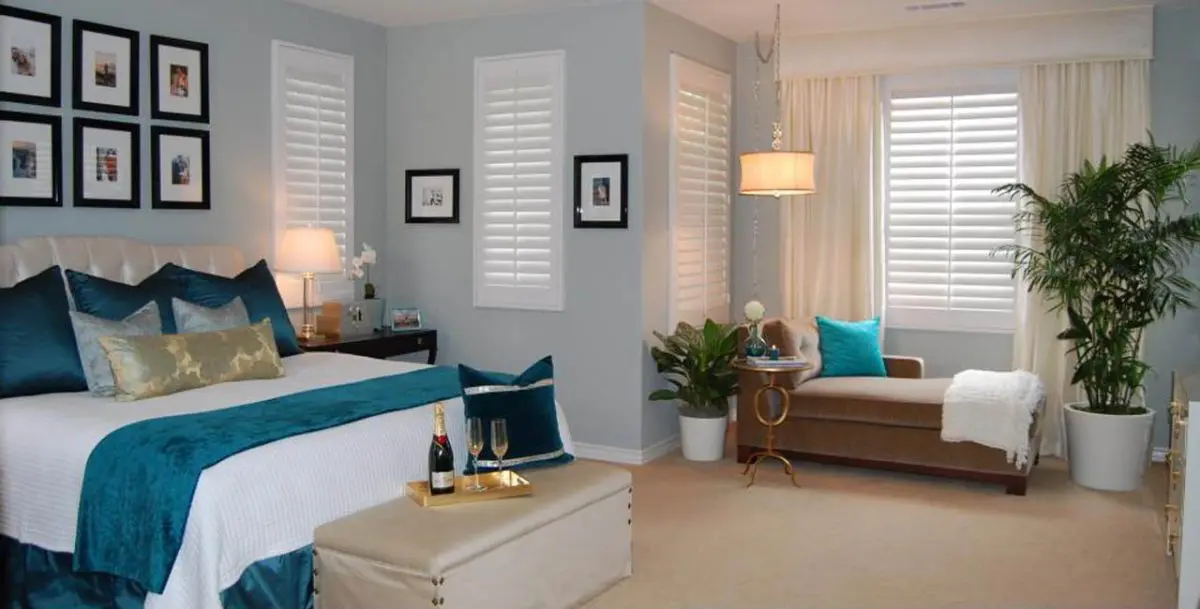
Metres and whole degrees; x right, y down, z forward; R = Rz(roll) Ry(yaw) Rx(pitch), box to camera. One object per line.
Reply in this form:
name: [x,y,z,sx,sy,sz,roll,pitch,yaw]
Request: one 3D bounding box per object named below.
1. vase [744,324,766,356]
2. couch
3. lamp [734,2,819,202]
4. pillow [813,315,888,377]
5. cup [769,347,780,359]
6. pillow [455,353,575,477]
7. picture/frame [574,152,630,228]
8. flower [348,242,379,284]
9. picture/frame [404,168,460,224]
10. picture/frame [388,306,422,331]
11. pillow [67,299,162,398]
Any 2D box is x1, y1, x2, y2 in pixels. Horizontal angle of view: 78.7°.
vase: [1.550,0.360,7.333,0.220,0.322,0.416,-1,4,11]
couch: [2.892,0.942,7.601,2.903,1.364,1.547,1,4,21]
lamp: [1.899,-2.096,7.735,0.818,1.948,1.721,-1,4,12]
pillow: [2.618,0.466,7.710,0.707,0.584,0.251,0,-8,-2]
cup: [1.711,0.485,7.232,0.115,0.132,0.284,0,3,16]
pillow: [-0.651,0.919,5.812,1.038,0.920,0.361,-3,-13,-34]
picture/frame: [0.038,-1.170,7.421,0.859,0.918,0.066,1,1,20]
flower: [-2.578,-0.428,7.883,0.172,0.378,0.390,12,12,-43]
picture/frame: [-1.823,-1.193,8.023,0.698,0.556,0.052,0,0,17]
picture/frame: [-2.154,0.184,8.022,0.448,0.293,0.236,1,-6,-33]
pillow: [-3.809,0.364,5.716,0.221,0.641,0.723,-16,-5,29]
